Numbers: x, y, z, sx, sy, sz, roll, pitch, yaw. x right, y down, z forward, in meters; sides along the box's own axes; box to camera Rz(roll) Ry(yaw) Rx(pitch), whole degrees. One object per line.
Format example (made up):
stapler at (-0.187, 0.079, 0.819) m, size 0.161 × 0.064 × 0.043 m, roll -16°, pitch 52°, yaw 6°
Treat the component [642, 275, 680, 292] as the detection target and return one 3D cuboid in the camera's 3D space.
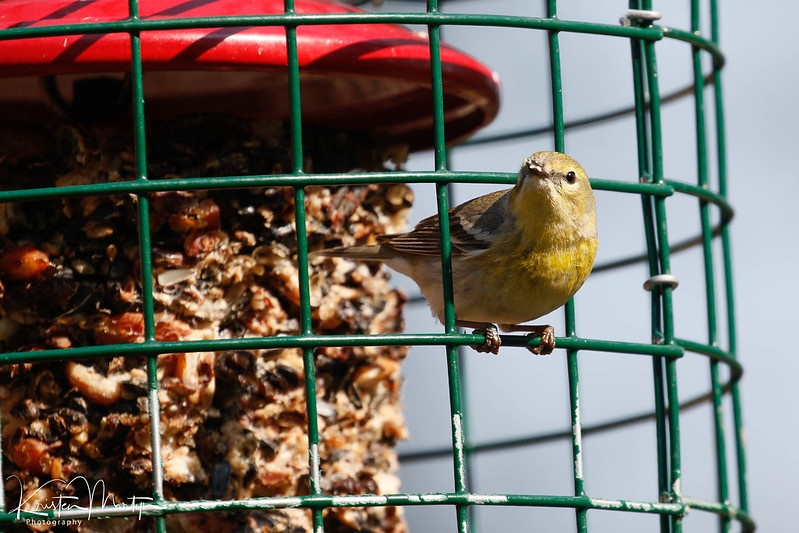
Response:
component at (0.935, 0.057, 4.566) m, size 0.114 × 0.111 × 0.036 m, roll -4°, pitch -96°, yaw -6°
